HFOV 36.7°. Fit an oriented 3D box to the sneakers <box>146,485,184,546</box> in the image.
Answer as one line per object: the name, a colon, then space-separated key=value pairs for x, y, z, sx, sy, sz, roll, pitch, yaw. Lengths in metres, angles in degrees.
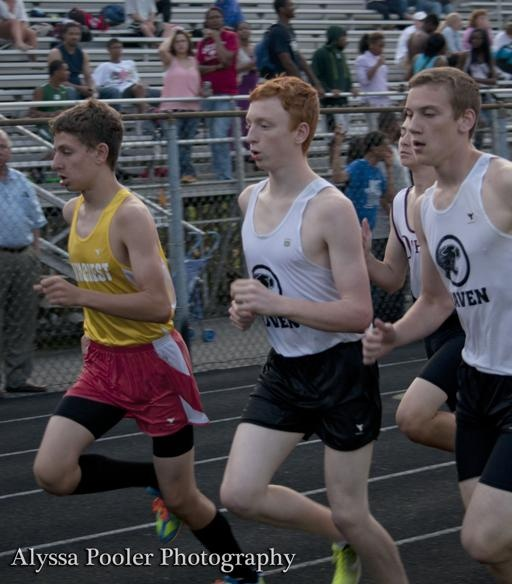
sneakers: x=-0.355 y=0.820 z=2.963 sx=0.111 sy=0.091 sz=0.264 roll=8 pitch=47 yaw=-42

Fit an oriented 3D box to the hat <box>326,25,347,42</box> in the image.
hat: x=0.927 y=-2.755 z=8.297 sx=0.202 sy=0.171 sz=0.273 roll=-2 pitch=26 yaw=4
